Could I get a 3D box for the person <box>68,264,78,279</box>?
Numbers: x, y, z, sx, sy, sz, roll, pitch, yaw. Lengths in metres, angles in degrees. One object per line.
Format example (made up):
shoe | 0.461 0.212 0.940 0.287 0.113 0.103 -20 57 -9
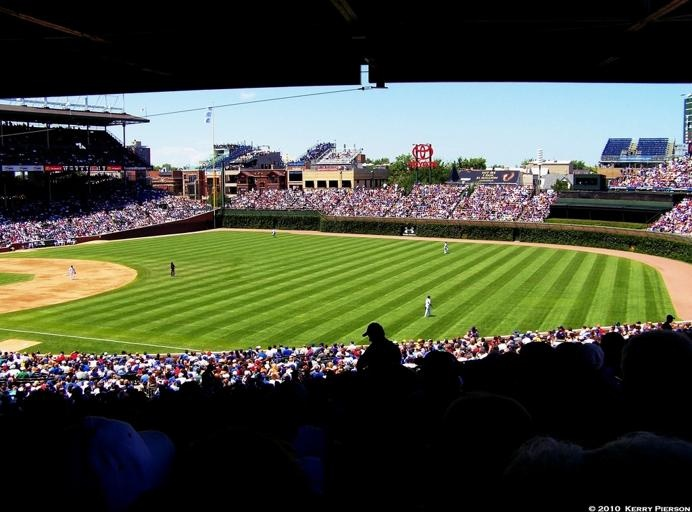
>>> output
person | -18.278 1.051 39.675 0.429 1.186 0.628 2 10 13
